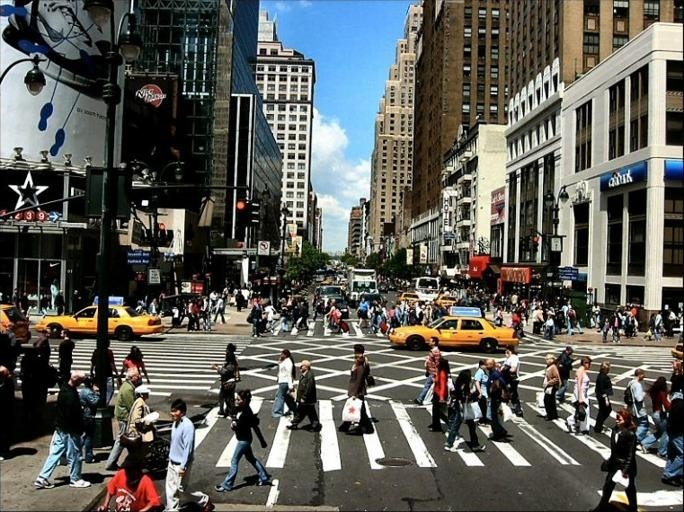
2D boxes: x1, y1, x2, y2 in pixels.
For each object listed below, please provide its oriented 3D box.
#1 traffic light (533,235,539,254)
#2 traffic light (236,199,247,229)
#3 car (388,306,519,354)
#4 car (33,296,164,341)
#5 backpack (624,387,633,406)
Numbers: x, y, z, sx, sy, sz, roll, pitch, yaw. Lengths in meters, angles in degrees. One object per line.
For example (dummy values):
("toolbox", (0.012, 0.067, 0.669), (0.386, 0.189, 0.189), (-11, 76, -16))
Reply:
("traffic light", (18.076, -1.082, 69.629), (0.516, 1.682, 1.264), (-1, -4, 6))
("traffic light", (-4.109, -1.765, 30.860), (0.412, 1.120, 1.145), (0, -4, -8))
("car", (5.814, 4.144, 40.299), (5.892, 2.200, 2.316), (0, -1, 0))
("car", (-12.530, 3.950, 39.094), (6.304, 2.364, 2.531), (0, -1, -1))
("backpack", (9.879, 4.926, 25.671), (0.345, 0.561, 0.526), (0, -7, 3))
